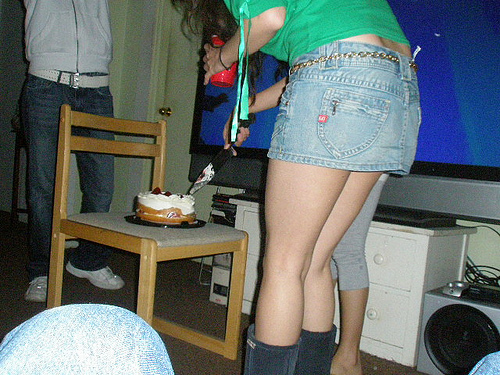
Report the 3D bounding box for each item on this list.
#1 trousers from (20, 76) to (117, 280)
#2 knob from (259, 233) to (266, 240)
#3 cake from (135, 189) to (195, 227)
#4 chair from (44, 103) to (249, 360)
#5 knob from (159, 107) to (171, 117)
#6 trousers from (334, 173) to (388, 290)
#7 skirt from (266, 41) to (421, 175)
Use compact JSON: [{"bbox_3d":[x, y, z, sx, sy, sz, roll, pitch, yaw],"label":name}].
[{"bbox_3d":[-0.925,-0.028,1.875,0.486,0.976,0.383,6,12,-13],"label":"trousers"},{"bbox_3d":[0.065,0.243,1.893,0.046,0.041,0.011,-4,-4,20],"label":"knob"},{"bbox_3d":[-0.321,0.067,1.445,0.223,0.119,0.215,9,4,6],"label":"cake"},{"bbox_3d":[-0.384,0.163,1.480,0.667,0.863,0.730,3,5,-36],"label":"chair"},{"bbox_3d":[-0.696,-0.631,3.110,0.099,0.077,0.072,6,11,-13],"label":"knob"},{"bbox_3d":[0.370,0.143,1.222,0.151,0.400,0.096,8,12,-7],"label":"trousers"},{"bbox_3d":[0.271,-0.185,0.947,0.410,0.282,0.261,-3,16,-42],"label":"skirt"}]
